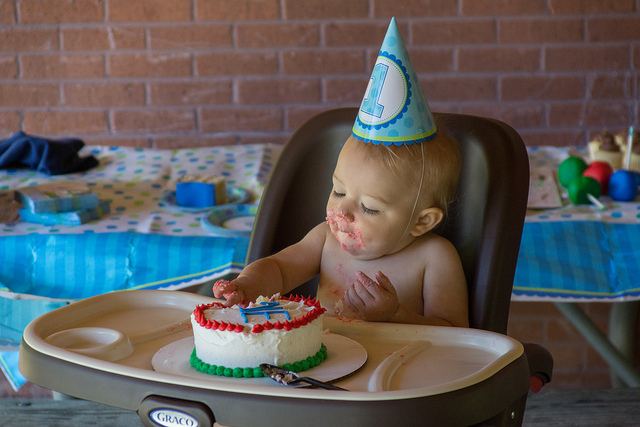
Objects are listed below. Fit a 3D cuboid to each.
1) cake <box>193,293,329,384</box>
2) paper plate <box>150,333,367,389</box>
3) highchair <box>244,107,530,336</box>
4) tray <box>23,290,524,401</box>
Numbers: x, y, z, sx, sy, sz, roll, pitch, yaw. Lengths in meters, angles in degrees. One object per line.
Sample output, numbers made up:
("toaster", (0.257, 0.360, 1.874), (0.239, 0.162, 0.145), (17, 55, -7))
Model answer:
("cake", (-0.122, 0.242, 1.401), (0.274, 0.134, 0.168), (-1, 10, 2))
("paper plate", (-0.120, 0.299, 1.444), (0.449, 0.015, 0.430), (-1, 5, 29))
("highchair", (0.175, 0.054, 1.717), (0.652, 0.595, 0.566), (3, 9, 22))
("tray", (-0.128, 0.290, 1.435), (1.019, 0.057, 0.549), (2, 7, 20))
